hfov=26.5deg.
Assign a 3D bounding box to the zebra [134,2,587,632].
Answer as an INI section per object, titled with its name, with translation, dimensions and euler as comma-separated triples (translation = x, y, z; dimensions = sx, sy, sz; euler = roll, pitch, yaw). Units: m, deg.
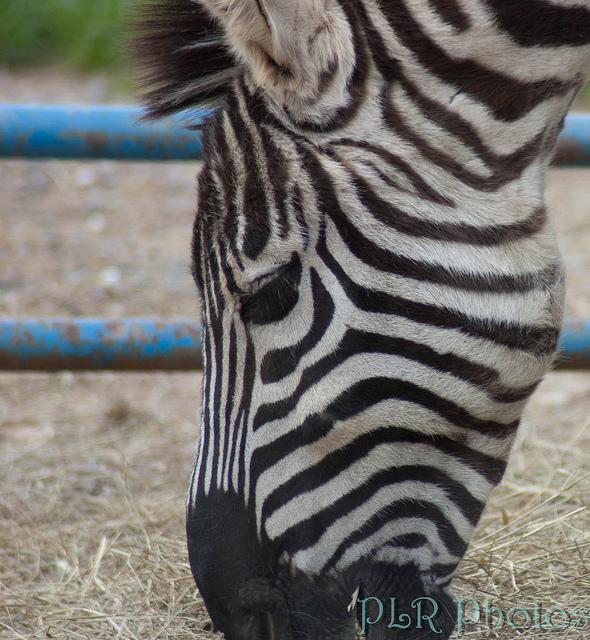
[zebra]
translation = 0.176, -0.002, 2.349
dimensions = 0.841, 1.050, 0.745
euler = -6, 44, -4
